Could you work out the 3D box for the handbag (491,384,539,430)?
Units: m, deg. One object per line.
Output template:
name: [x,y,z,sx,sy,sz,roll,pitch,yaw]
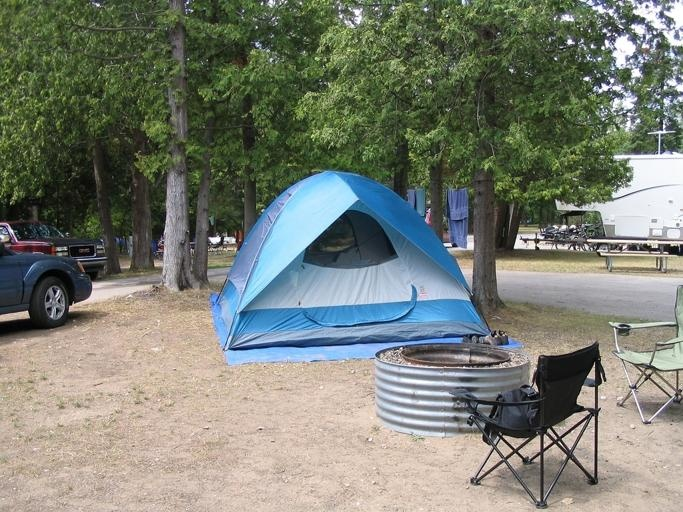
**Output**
handbag: [1.870,1.607,6.930,0.617,0.320,0.481,-4,10,-26]
